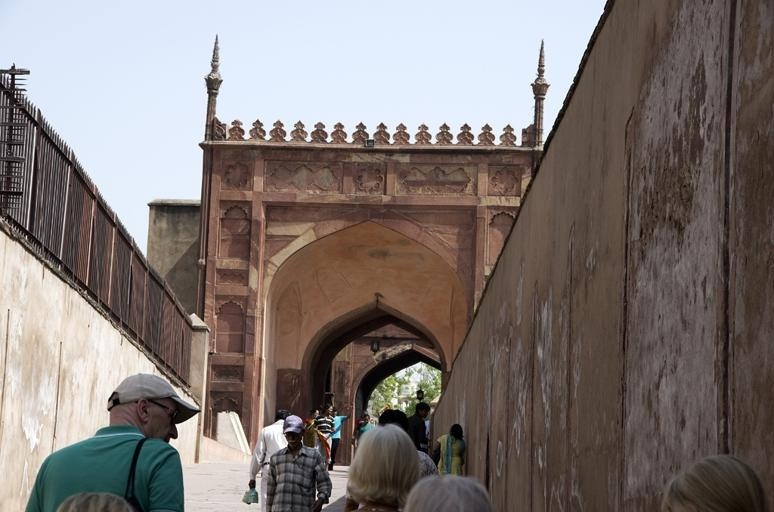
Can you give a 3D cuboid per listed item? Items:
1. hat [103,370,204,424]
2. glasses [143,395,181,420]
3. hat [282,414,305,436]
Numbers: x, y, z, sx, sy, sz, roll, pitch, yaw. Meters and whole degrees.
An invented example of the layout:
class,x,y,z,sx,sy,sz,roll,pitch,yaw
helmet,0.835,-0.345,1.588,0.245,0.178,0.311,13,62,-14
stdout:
class,x,y,z,sx,sy,sz,roll,pitch,yaw
hat,-0.998,0.617,5.614,0.338,0.185,0.231,4,-6,-17
glasses,-0.970,0.643,5.552,0.102,0.033,0.103,8,-15,16
hat,-0.598,1.077,8.231,0.092,0.079,0.150,0,-15,1
